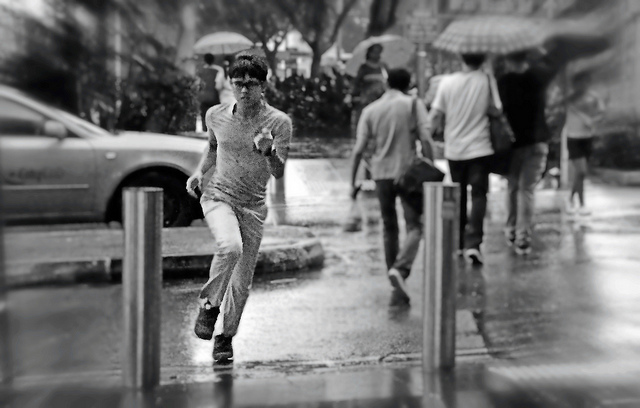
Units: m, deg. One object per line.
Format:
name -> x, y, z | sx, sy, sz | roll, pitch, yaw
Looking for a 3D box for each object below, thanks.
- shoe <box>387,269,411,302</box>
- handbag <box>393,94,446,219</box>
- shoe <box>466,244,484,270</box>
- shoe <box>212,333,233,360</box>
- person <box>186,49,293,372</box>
shoe -> 0.901, 0.928, 8.277 | 0.100, 0.396, 0.235 | -22, 28, -3
handbag -> 1.122, -0.523, 8.213 | 0.376, 1.339, 0.462 | -8, 14, -40
shoe -> 2.110, 0.702, 9.847 | 0.233, 0.295, 0.283 | 2, 11, 5
shoe -> -0.926, 1.342, 6.899 | 0.214, 0.323, 0.187 | 1, -8, -5
person -> -0.766, 0.064, 6.669 | 0.922, 2.874, 0.550 | 1, 10, 4
